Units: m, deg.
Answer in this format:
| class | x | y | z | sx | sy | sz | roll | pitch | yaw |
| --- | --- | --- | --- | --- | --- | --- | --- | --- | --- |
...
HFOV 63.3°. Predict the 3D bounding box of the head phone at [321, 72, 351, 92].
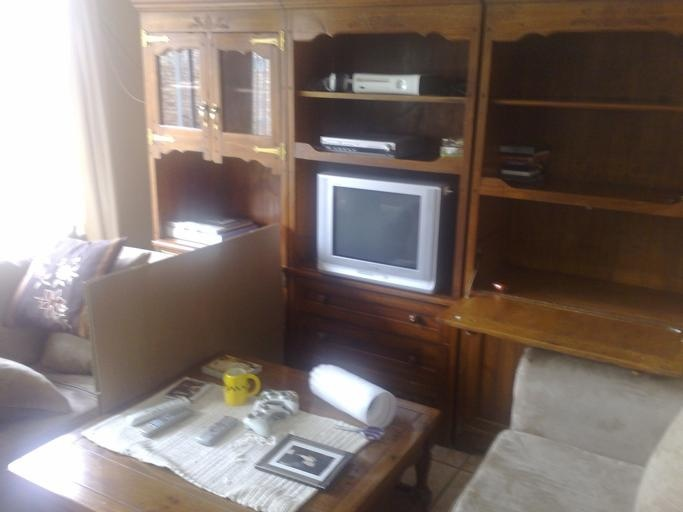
| class | x | y | z | sx | sy | sz | roll | pitch | yaw |
| --- | --- | --- | --- | --- | --- | --- | --- | --- | --- |
| head phone | -0.020 | -0.885 | 2.814 | 0.156 | 0.153 | 0.095 | 4 | 21 | 12 |
